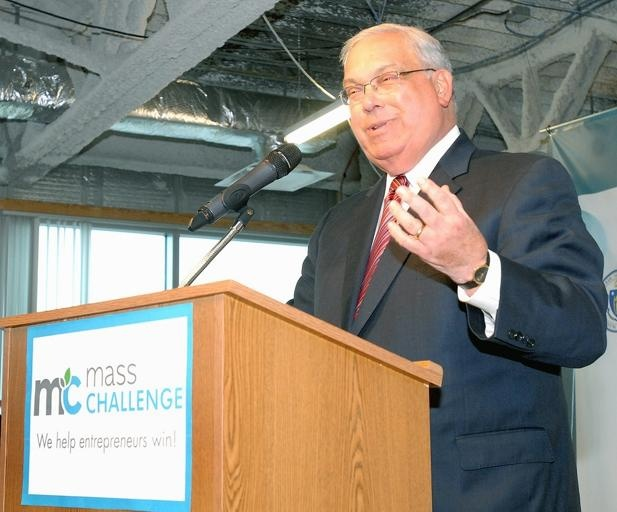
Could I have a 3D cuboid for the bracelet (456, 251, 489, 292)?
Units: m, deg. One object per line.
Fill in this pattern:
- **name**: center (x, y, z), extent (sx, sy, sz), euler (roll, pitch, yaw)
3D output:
- **bracelet**: center (0.359, 0.035, 1.795), extent (0.040, 0.079, 0.076), euler (14, -17, -38)
